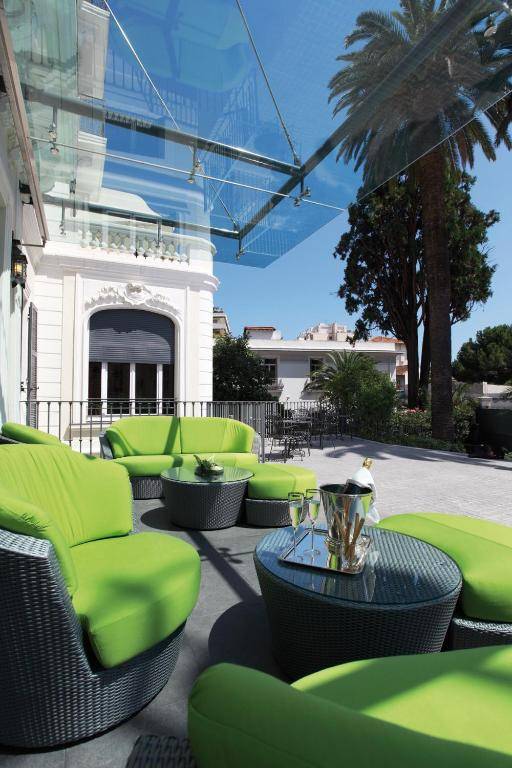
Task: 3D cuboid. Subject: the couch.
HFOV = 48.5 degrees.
[{"bbox_3d":[-0.859,0.664,6.260,1.814,1.034,0.734,3,-8,-22],"label":"couch"}]
